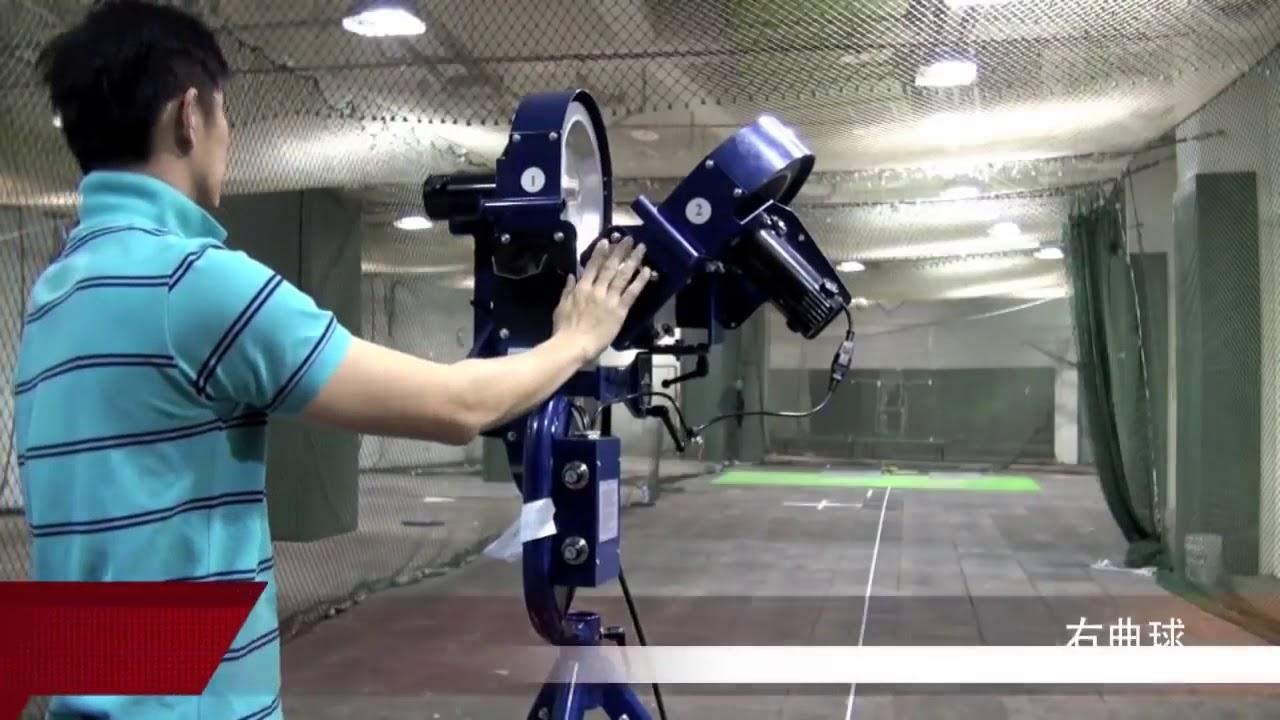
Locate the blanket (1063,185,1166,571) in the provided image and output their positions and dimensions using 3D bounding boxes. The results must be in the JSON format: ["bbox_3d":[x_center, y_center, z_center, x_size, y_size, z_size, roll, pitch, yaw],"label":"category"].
[{"bbox_3d":[1.896,0.075,3.592,0.344,1.507,0.138,0,-4,-31],"label":"blanket"}]
